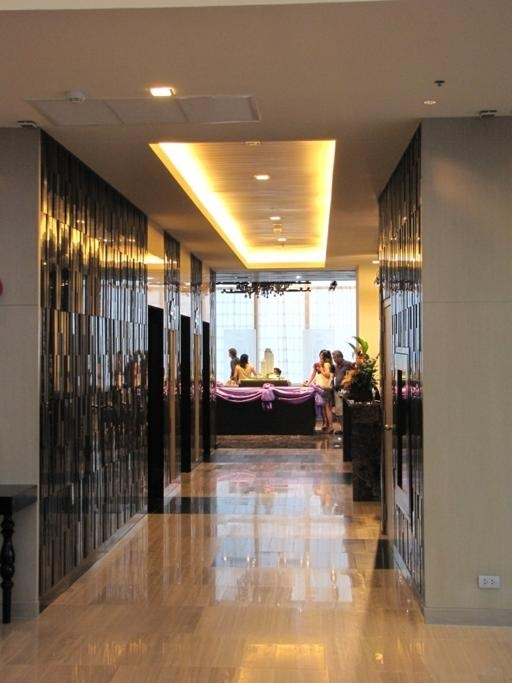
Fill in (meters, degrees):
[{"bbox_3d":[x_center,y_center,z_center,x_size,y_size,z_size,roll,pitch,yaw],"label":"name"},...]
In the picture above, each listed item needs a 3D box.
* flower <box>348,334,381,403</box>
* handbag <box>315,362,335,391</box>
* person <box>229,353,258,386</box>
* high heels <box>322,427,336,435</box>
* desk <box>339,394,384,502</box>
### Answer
[{"bbox_3d":[1.236,0.374,6.930,0.346,0.897,0.478,6,-5,7],"label":"flower"},{"bbox_3d":[1.400,0.757,12.245,0.382,0.820,0.608,2,-6,-3],"label":"handbag"},{"bbox_3d":[-0.322,0.690,14.036,0.522,1.342,0.437,2,8,11],"label":"person"},{"bbox_3d":[1.520,1.852,12.203,0.332,0.144,0.123,14,-19,-11],"label":"high heels"},{"bbox_3d":[1.279,1.245,7.285,0.383,1.091,3.608,0,-2,8],"label":"desk"}]
